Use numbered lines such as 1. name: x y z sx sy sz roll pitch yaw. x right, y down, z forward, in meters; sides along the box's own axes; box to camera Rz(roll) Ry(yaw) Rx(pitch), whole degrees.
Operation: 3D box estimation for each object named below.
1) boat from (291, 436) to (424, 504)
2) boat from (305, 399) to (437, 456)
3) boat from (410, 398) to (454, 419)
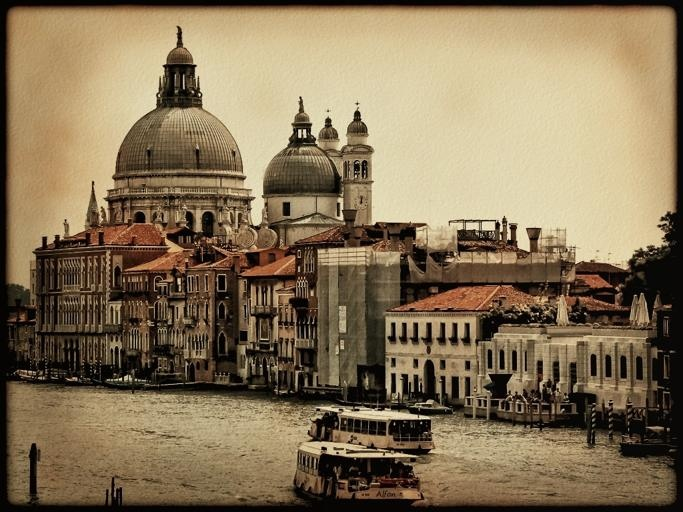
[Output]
1. boat: 0.280 9.120 69.833 2.413 1.349 4.247 1 2 -28
2. boat: 0.996 8.379 81.184 2.197 2.295 7.062 0 -1 -43
3. boat: 5.045 8.680 94.218 1.486 0.643 1.083 -2 5 -20
